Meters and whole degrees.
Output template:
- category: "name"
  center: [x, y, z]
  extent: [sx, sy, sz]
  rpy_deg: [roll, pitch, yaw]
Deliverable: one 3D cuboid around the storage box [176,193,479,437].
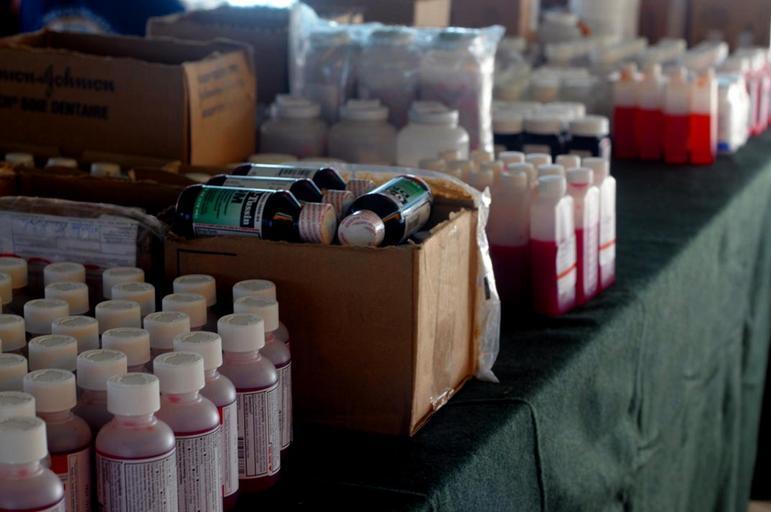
- category: "storage box"
  center: [-0.098, 0.106, 1.488]
  extent: [0.653, 0.283, 0.630]
  rpy_deg: [1, 5, -17]
